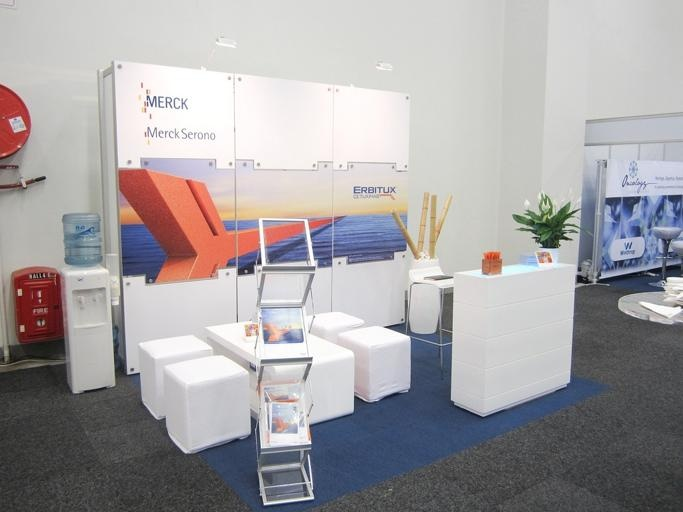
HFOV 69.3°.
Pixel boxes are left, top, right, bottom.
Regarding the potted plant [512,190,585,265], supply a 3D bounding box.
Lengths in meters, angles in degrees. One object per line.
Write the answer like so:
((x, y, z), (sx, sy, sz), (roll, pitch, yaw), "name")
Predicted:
((2.180, -0.338, 5.300), (0.516, 0.697, 0.886), (9, 17, 33), "potted plant")

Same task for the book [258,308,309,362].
((-0.467, 0.597, 3.797), (0.403, 0.463, 0.340), (3, -28, -13), "book")

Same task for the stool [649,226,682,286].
((6.104, -0.057, 9.408), (0.481, 1.003, 1.300), (10, 17, 35), "stool")

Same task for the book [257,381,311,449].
((-0.424, 1.171, 3.639), (0.353, 0.385, 0.256), (-2, 14, -11), "book")
